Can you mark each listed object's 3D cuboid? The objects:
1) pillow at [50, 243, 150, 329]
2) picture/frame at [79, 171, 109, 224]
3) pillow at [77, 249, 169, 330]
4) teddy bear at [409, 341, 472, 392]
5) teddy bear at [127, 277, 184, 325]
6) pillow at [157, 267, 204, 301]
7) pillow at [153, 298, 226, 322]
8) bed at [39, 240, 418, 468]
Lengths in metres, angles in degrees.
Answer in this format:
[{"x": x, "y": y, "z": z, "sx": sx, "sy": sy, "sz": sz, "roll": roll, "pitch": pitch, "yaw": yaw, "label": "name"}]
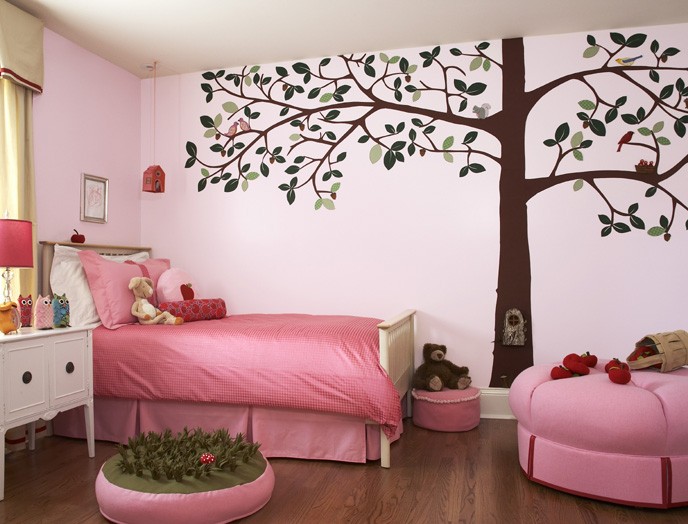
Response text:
[{"x": -1.761, "y": 0.193, "z": 3.561, "sx": 0.440, "sy": 0.532, "sz": 0.149, "roll": 3, "pitch": -15, "yaw": -38, "label": "pillow"}, {"x": -2.100, "y": -0.537, "z": 4.159, "sx": 0.048, "sy": 0.473, "sz": 0.430, "roll": 1, "pitch": -3, "yaw": 16, "label": "picture/frame"}, {"x": -1.659, "y": 0.184, "z": 3.572, "sx": 0.146, "sy": 0.519, "sz": 0.491, "roll": -25, "pitch": -12, "yaw": 37, "label": "pillow"}, {"x": 0.759, "y": 0.811, "z": 3.845, "sx": 0.392, "sy": 0.416, "sz": 0.364, "roll": -7, "pitch": -6, "yaw": 2, "label": "teddy bear"}, {"x": -1.385, "y": 0.290, "z": 3.663, "sx": 0.369, "sy": 0.365, "sz": 0.247, "roll": 0, "pitch": 5, "yaw": 11, "label": "teddy bear"}, {"x": -1.368, "y": 0.189, "z": 4.180, "sx": 0.103, "sy": 0.288, "sz": 0.243, "roll": -13, "pitch": -9, "yaw": 29, "label": "pillow"}, {"x": -1.172, "y": 0.347, "z": 3.915, "sx": 0.363, "sy": 0.130, "sz": 0.189, "roll": 1, "pitch": 1, "yaw": -45, "label": "pillow"}, {"x": -0.667, "y": 0.549, "z": 3.624, "sx": 1.982, "sy": 1.152, "sz": 1.405, "roll": -2, "pitch": -2, "yaw": 6, "label": "bed"}]
